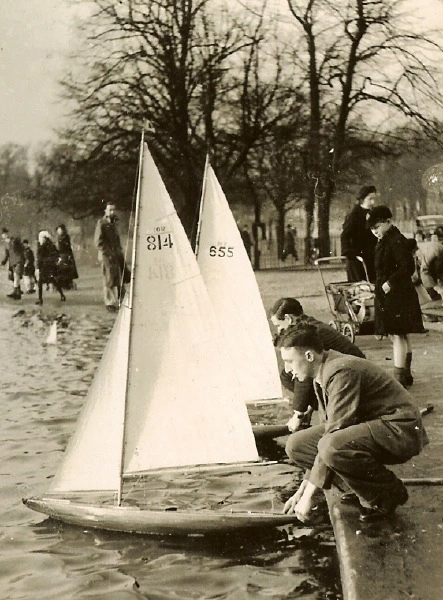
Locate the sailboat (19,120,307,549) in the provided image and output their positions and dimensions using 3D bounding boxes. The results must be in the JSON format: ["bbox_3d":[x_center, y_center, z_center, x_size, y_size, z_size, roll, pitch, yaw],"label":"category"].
[{"bbox_3d":[-0.338,0.178,5.478,1.124,1.788,0.480,-2,-1,3],"label":"sailboat"}]

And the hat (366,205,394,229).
[{"bbox_3d":[0.988,-0.541,6.672,0.142,0.139,0.244,-2,-1,7],"label":"hat"}]

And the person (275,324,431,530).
[{"bbox_3d":[0.593,0.567,4.939,0.690,0.859,0.463,-2,-1,21],"label":"person"}]

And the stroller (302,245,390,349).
[{"bbox_3d":[0.997,-0.025,8.285,0.473,0.709,0.465,-1,3,29],"label":"stroller"}]

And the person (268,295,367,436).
[{"bbox_3d":[0.533,0.245,5.982,0.487,0.857,0.421,-5,40,6],"label":"person"}]
